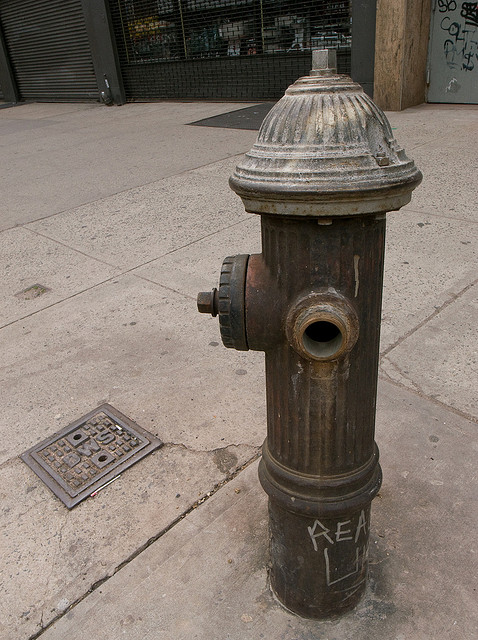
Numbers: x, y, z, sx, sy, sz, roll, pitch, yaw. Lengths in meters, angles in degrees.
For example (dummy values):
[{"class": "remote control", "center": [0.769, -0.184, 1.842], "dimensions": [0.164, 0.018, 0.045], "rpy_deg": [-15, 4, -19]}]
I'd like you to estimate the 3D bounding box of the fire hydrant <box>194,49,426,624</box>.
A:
[{"class": "fire hydrant", "center": [0.209, 0.172, 1.402], "dimensions": [0.484, 1.577, 0.328], "rpy_deg": [-7, 26, -4]}]
